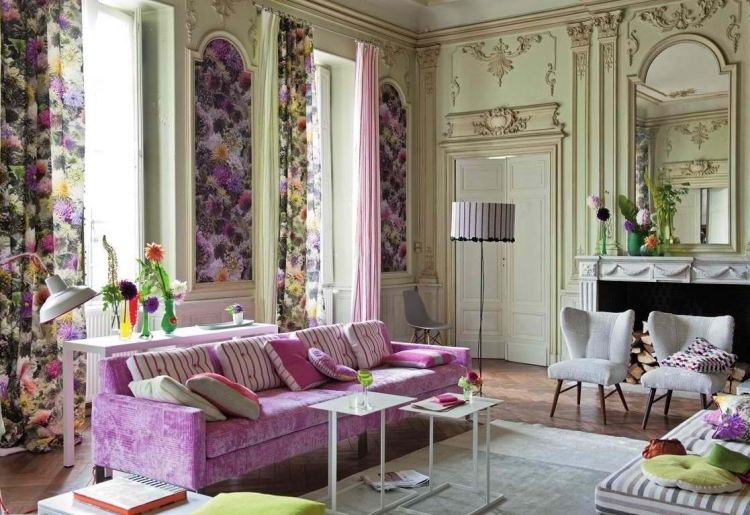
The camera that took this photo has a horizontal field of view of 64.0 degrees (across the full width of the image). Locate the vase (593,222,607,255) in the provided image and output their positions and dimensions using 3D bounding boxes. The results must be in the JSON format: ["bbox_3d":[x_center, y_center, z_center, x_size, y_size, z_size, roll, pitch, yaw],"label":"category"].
[{"bbox_3d":[3.001,-0.270,7.971,0.157,0.409,0.367,2,5,21],"label":"vase"}]

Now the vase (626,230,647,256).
[{"bbox_3d":[3.299,-0.207,7.618,0.247,0.398,0.268,0,3,-30],"label":"vase"}]

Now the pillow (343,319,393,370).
[{"bbox_3d":[-0.067,0.867,6.066,0.444,0.452,0.135,-3,-20,-42],"label":"pillow"}]

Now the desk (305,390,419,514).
[{"bbox_3d":[-0.131,1.442,4.668,0.723,1.012,0.881,-1,-1,32],"label":"desk"}]

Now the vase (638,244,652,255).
[{"bbox_3d":[3.377,-0.090,7.533,0.112,0.136,0.116,-6,38,47],"label":"vase"}]

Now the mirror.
[{"bbox_3d":[3.953,-1.455,7.597,1.147,2.673,0.217,3,5,31],"label":"mirror"}]

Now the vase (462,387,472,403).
[{"bbox_3d":[0.731,1.080,4.743,0.085,0.156,0.084,2,6,5],"label":"vase"}]

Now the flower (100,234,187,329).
[{"bbox_3d":[-2.263,0.244,5.894,0.906,1.304,0.839,-1,2,-20],"label":"flower"}]

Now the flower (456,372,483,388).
[{"bbox_3d":[0.789,0.959,4.745,0.225,0.123,0.225,3,-3,-22],"label":"flower"}]

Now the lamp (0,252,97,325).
[{"bbox_3d":[-2.721,0.240,4.906,0.735,0.520,0.434,-21,4,-2],"label":"lamp"}]

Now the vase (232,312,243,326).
[{"bbox_3d":[-1.406,0.629,6.174,0.117,0.154,0.123,-2,-4,37],"label":"vase"}]

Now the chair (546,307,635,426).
[{"bbox_3d":[2.311,1.099,6.408,0.751,1.104,0.825,2,5,27],"label":"chair"}]

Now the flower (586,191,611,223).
[{"bbox_3d":[2.944,-0.663,7.882,0.295,0.388,0.536,2,4,20],"label":"flower"}]

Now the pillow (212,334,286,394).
[{"bbox_3d":[-1.081,0.892,5.065,0.437,0.438,0.148,-2,-22,-48],"label":"pillow"}]

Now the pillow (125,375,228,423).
[{"bbox_3d":[-1.432,1.001,4.361,0.691,0.342,0.302,2,5,25],"label":"pillow"}]

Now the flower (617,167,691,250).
[{"bbox_3d":[3.518,-0.560,7.778,0.905,1.049,0.949,-3,-4,39],"label":"flower"}]

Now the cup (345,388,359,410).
[{"bbox_3d":[-0.157,1.076,4.507,0.084,0.140,0.082,2,4,0],"label":"cup"}]

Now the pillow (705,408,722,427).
[{"bbox_3d":[2.641,1.241,4.663,0.134,0.067,0.139,-47,22,-24],"label":"pillow"}]

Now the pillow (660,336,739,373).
[{"bbox_3d":[3.219,0.990,5.975,0.416,0.142,0.403,-26,13,-36],"label":"pillow"}]
